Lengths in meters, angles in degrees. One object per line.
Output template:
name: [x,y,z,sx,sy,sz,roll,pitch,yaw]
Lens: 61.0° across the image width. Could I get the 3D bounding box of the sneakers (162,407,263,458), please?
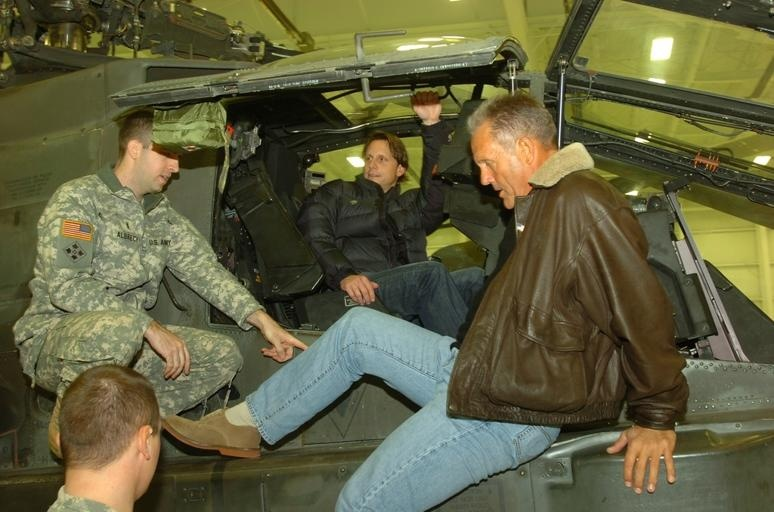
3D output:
sneakers: [-0.830,0.888,3.419,0.552,0.242,0.203,15,-3,-6]
